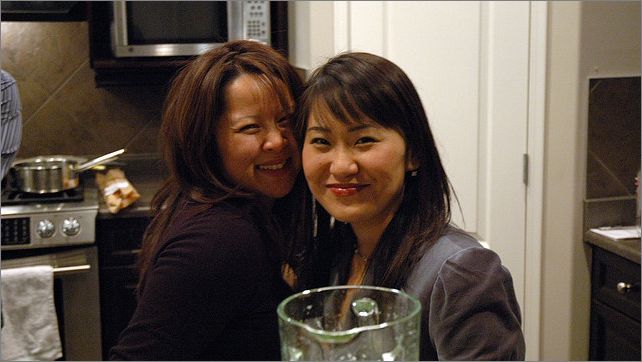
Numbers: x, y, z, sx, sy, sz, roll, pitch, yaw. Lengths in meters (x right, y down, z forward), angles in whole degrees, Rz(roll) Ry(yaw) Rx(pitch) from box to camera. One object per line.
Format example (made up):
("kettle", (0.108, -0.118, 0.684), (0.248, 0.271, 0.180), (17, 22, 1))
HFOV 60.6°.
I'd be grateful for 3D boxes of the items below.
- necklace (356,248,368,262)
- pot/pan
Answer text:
("necklace", (0.156, 0.281, 2.121), (0.049, 0.016, 0.037), (41, 2, 3))
("pot/pan", (-1.602, -0.062, 3.554), (0.643, 0.210, 0.372), (-3, 7, -14))
